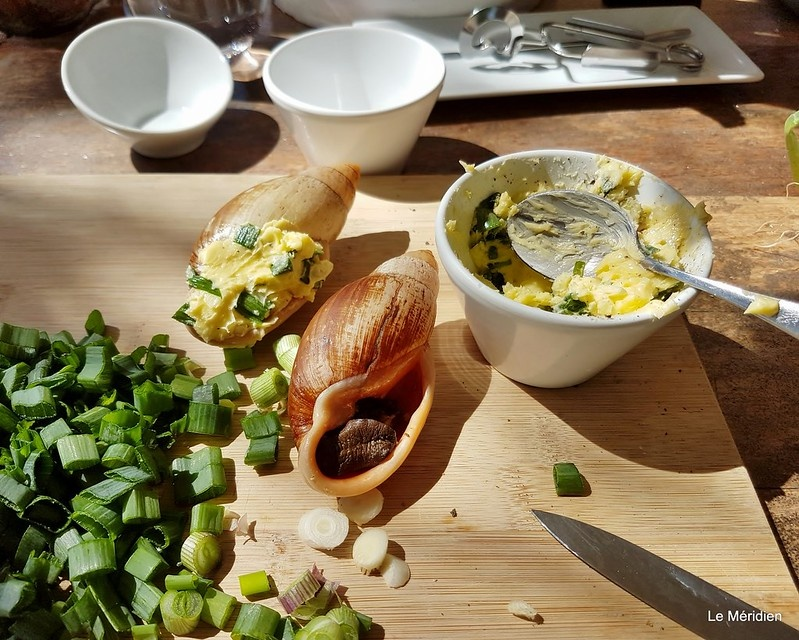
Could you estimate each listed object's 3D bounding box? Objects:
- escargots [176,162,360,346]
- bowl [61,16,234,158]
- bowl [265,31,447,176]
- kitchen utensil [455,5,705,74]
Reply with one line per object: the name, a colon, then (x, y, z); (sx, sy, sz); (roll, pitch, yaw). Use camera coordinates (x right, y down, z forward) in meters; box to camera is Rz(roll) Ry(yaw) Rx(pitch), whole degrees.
escargots: (-0.198, -0.111, 1.325); (0.394, 0.128, 0.212); (-31, 81, -18)
bowl: (-0.515, -0.531, 1.638); (0.340, 0.142, 0.261); (31, 101, 13)
bowl: (-0.090, -0.452, 1.506); (0.477, 0.201, 0.344); (-2, 45, -2)
kitchen utensil: (0.422, -0.640, 1.803); (0.642, 0.094, 0.161); (6, 69, 3)
